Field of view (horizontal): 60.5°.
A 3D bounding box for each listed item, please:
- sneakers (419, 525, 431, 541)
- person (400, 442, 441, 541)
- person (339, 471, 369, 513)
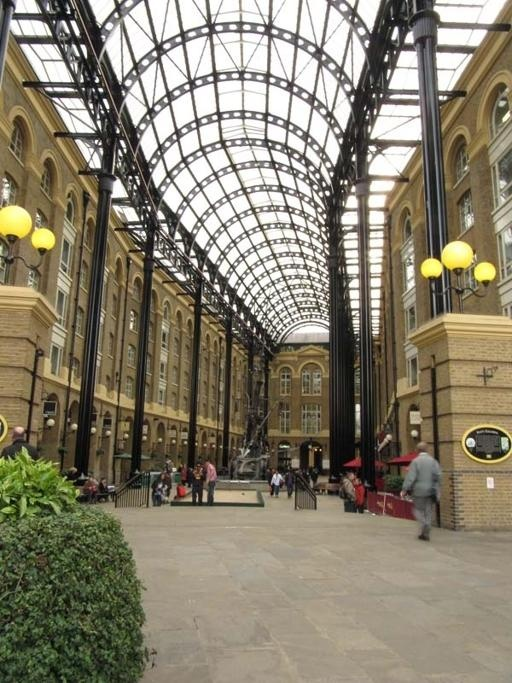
[{"bbox_3d":[2.921,3.226,7.581,0.144,0.308,0.269,1,-12,4],"label":"sneakers"},{"bbox_3d":[2.914,2.561,7.736,0.688,1.623,0.441,0,-13,3],"label":"person"},{"bbox_3d":[3.534,5.288,15.879,0.862,1.337,2.301,-3,-16,13],"label":"person"}]
